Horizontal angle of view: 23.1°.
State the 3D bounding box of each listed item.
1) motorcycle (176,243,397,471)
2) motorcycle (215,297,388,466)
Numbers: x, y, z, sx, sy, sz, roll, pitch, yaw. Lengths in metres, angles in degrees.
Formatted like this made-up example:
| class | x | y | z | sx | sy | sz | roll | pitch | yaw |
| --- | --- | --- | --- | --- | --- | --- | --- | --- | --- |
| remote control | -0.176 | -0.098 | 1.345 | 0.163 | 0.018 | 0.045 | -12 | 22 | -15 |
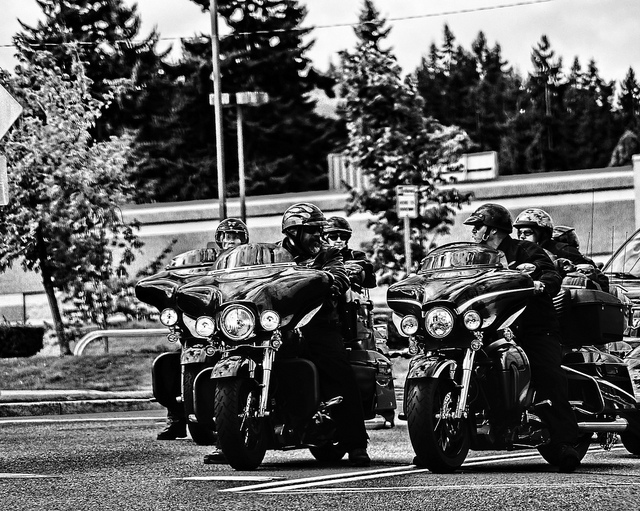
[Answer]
| class | x | y | z | sx | sy | sz | roll | pitch | yaw |
| --- | --- | --- | --- | --- | --- | --- | --- | --- | --- |
| motorcycle | -0.391 | 1.079 | 16.896 | 2.012 | 2.313 | 1.334 | -3 | 0 | -9 |
| motorcycle | -0.240 | 1.296 | 16.757 | 1.993 | 1.698 | 0.722 | -3 | 1 | -44 |
